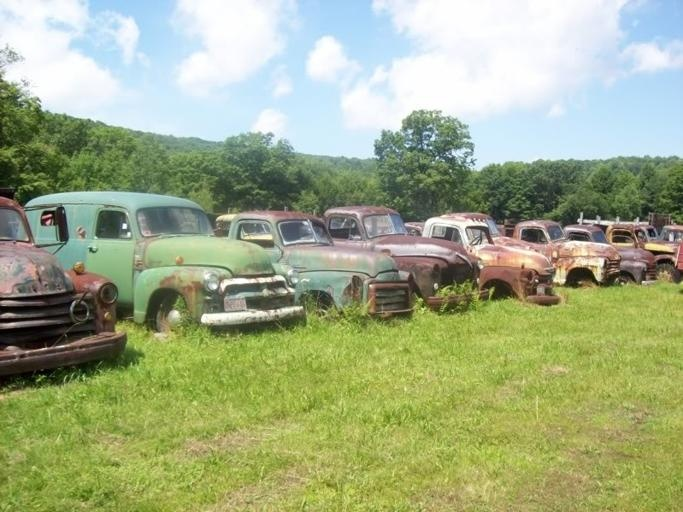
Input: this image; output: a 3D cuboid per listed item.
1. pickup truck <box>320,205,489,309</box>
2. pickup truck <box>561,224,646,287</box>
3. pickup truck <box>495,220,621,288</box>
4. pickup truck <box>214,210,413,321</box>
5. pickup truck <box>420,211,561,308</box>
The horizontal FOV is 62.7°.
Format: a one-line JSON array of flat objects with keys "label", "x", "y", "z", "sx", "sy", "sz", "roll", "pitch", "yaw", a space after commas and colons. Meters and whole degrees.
[{"label": "pickup truck", "x": 1.236, "y": -0.115, "z": 13.115, "sx": 3.331, "sy": 1.561, "sz": 2.020, "roll": 4, "pitch": 5, "yaw": 31}, {"label": "pickup truck", "x": 8.865, "y": -0.075, "z": 19.060, "sx": 2.866, "sy": 1.588, "sz": 1.725, "roll": 0, "pitch": 7, "yaw": 17}, {"label": "pickup truck", "x": 6.999, "y": -0.033, "z": 17.717, "sx": 3.214, "sy": 1.608, "sz": 1.998, "roll": -1, "pitch": 6, "yaw": 26}, {"label": "pickup truck", "x": -0.693, "y": 0.021, "z": 11.390, "sx": 4.055, "sy": 1.822, "sz": 1.738, "roll": 6, "pitch": 7, "yaw": 34}, {"label": "pickup truck", "x": 3.818, "y": -0.009, "z": 14.460, "sx": 3.222, "sy": 1.579, "sz": 1.999, "roll": 7, "pitch": 8, "yaw": 25}]
